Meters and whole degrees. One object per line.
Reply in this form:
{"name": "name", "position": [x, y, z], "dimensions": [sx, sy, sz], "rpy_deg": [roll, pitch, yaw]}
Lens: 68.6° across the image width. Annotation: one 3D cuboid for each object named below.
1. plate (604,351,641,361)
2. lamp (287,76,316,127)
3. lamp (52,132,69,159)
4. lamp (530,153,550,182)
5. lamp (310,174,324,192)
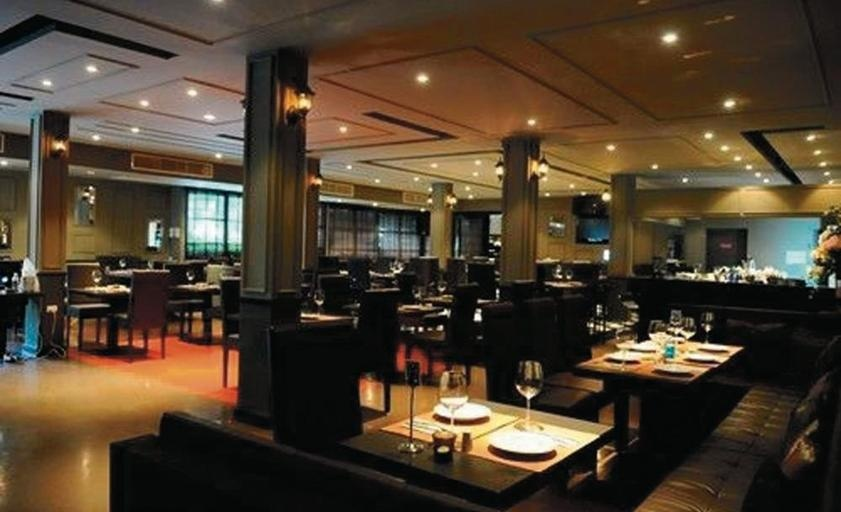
{"name": "plate", "position": [2.120, 1.055, 6.424], "dimensions": [0.223, 0.044, 0.208], "rpy_deg": [1, 3, 25]}
{"name": "lamp", "position": [-1.477, -1.845, 7.531], "dimensions": [0.344, 0.498, 0.138], "rpy_deg": [-6, 11, -10]}
{"name": "lamp", "position": [-5.889, -1.774, 10.093], "dimensions": [0.104, 0.360, 0.306], "rpy_deg": [2, 11, 28]}
{"name": "lamp", "position": [2.162, -1.593, 11.216], "dimensions": [0.278, 0.374, 0.340], "rpy_deg": [-1, 10, 16]}
{"name": "lamp", "position": [-2.431, -1.672, 14.257], "dimensions": [0.231, 0.415, 0.474], "rpy_deg": [-1, 10, 15]}
